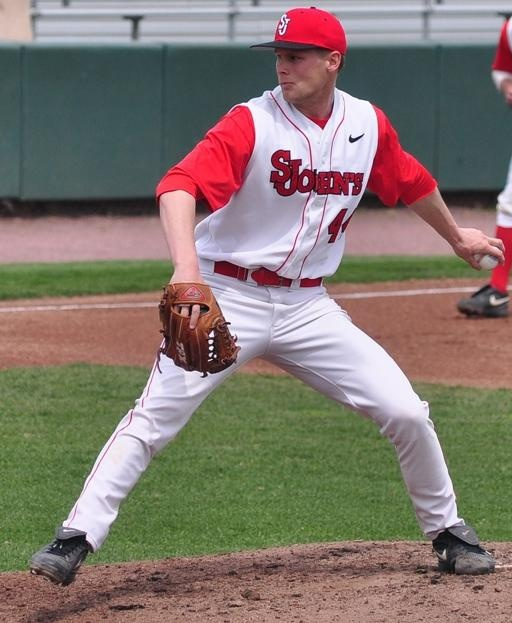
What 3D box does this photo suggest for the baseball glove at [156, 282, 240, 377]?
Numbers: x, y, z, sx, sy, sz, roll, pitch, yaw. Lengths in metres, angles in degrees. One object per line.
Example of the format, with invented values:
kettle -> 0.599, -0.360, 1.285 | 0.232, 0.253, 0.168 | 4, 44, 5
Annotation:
baseball glove -> -0.183, 0.038, 3.188 | 0.229, 0.257, 0.112 | 1, 27, 14

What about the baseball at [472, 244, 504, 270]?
baseball -> 0.805, -0.196, 3.768 | 0.079, 0.037, 0.106 | 12, -18, -31

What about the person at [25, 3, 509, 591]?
person -> 0.069, -0.070, 3.439 | 1.435, 1.778, 0.619 | 0, 8, -11

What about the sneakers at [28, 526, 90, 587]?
sneakers -> -0.579, 0.716, 3.258 | 0.115, 0.134, 0.322 | 17, 2, 9

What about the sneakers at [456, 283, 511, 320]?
sneakers -> 1.340, -0.047, 6.374 | 0.138, 0.171, 0.377 | 5, -4, -38

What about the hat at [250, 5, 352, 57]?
hat -> 0.157, -0.880, 3.421 | 0.245, 0.115, 0.150 | 2, 6, -20

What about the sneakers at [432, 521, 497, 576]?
sneakers -> 0.670, 0.773, 3.517 | 0.128, 0.133, 0.318 | -5, -1, -26
